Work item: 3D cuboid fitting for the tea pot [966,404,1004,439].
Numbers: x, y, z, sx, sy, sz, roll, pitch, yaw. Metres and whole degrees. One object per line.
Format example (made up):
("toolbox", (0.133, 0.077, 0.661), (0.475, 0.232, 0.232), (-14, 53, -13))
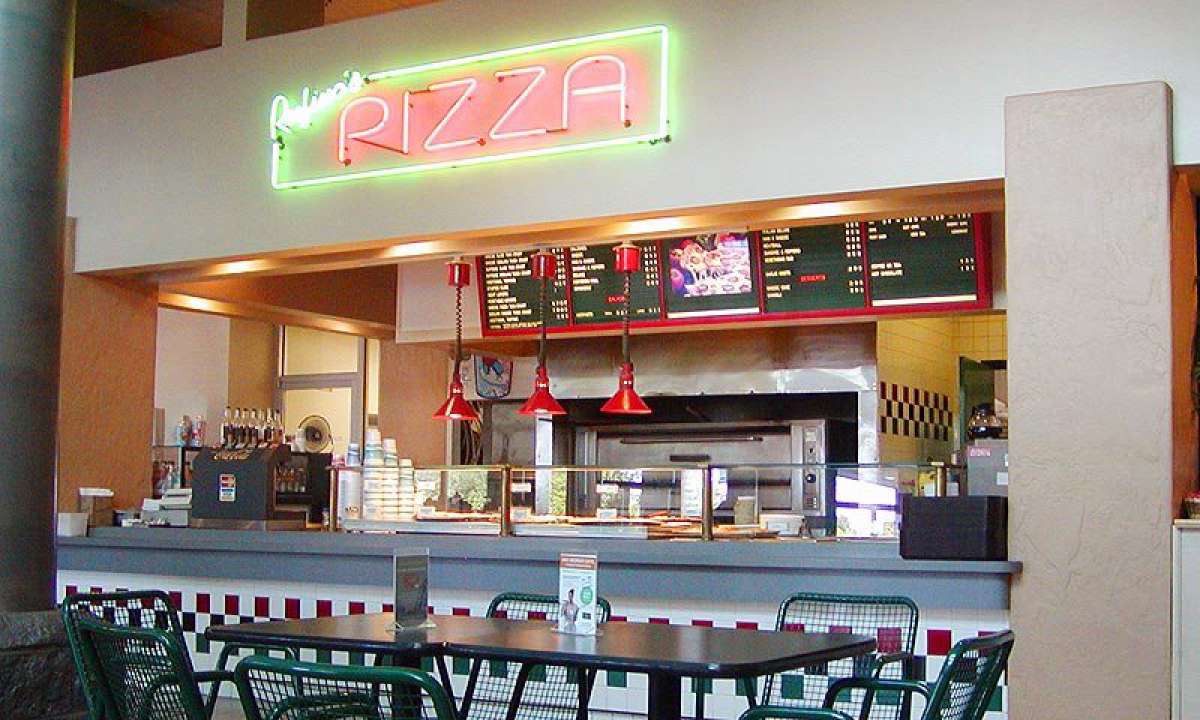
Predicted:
("tea pot", (2.687, 0.422, 6.705), (0.230, 0.241, 0.334), (-1, -4, 22))

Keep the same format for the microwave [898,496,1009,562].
("microwave", (1.982, 0.932, 5.250), (0.626, 0.351, 0.360), (-8, -22, 44))

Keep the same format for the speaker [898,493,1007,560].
("speaker", (1.986, 0.938, 5.250), (0.351, 0.353, 0.608), (19, -20, -34))

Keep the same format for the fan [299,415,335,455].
("fan", (-3.528, 0.917, 11.957), (0.485, 0.521, 0.268), (-4, -3, -16))

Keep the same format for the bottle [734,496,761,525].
("bottle", (0.884, 0.910, 5.899), (0.171, 0.162, 0.163), (2, 6, 17))
